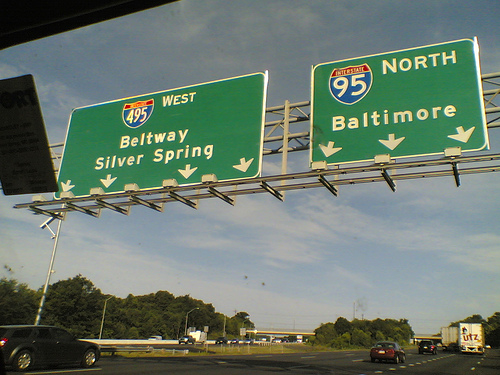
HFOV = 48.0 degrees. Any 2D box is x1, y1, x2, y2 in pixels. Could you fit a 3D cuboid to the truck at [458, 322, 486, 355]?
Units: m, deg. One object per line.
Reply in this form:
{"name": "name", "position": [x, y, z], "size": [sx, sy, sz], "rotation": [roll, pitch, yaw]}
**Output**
{"name": "truck", "position": [25.450, 17.381, 63.609], "size": [2.828, 3.276, 4.791], "rotation": [-4, -19, 24]}

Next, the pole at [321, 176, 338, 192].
{"name": "pole", "position": [2.590, -0.107, 18.254], "size": [0.732, 0.138, 0.126], "rotation": [42, -69, -15]}

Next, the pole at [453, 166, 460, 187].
{"name": "pole", "position": [5.895, -0.364, 15.964], "size": [0.194, 0.895, 0.137], "rotation": [-4, 20, 18]}

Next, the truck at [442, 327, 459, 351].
{"name": "truck", "position": [29.612, 21.816, 82.065], "size": [2.060, 3.296, 3.594], "rotation": [4, -10, 22]}

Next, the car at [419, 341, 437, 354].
{"name": "car", "position": [18.855, 17.090, 59.544], "size": [1.065, 1.517, 2.099], "rotation": [-5, 3, -23]}

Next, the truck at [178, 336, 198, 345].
{"name": "truck", "position": [-9.953, 24.276, 89.773], "size": [1.417, 0.841, 2.296], "rotation": [-14, -26, 31]}
